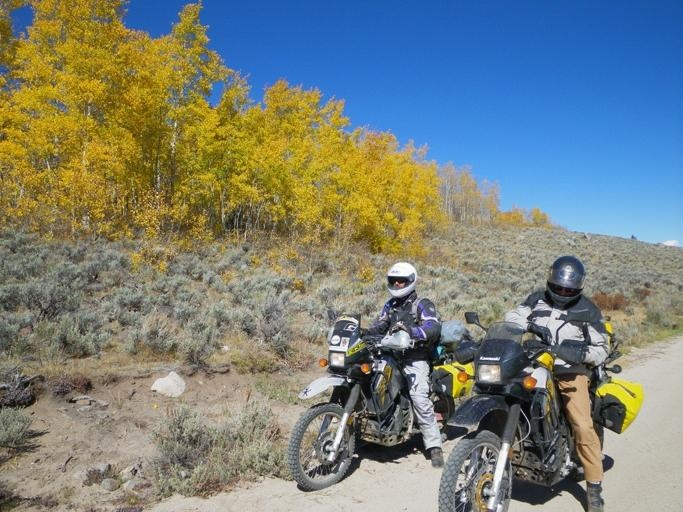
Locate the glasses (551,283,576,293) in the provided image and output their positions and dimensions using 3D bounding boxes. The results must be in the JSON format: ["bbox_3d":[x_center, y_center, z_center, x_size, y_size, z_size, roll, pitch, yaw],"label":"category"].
[{"bbox_3d":[3.238,0.490,7.773,0.168,0.118,0.220,13,4,11],"label":"glasses"}]

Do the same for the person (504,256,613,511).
[{"bbox_3d":[3.277,1.805,7.751,1.397,3.083,1.045,6,-1,16],"label":"person"}]

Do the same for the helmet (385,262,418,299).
[{"bbox_3d":[1.016,0.392,8.735,0.406,0.510,0.547,-2,-1,32],"label":"helmet"}]

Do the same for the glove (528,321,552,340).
[{"bbox_3d":[2.830,1.074,7.607,0.437,0.224,0.184,9,-3,-20],"label":"glove"}]

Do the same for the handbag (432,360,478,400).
[{"bbox_3d":[1.818,2.051,8.648,0.715,0.813,0.564,-1,-1,8],"label":"handbag"}]

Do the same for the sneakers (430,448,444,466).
[{"bbox_3d":[1.505,3.188,8.408,0.115,0.170,0.412,-5,-44,8],"label":"sneakers"}]

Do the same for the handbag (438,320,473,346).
[{"bbox_3d":[1.934,1.273,8.995,0.476,0.183,0.327,-17,12,-42],"label":"handbag"}]
